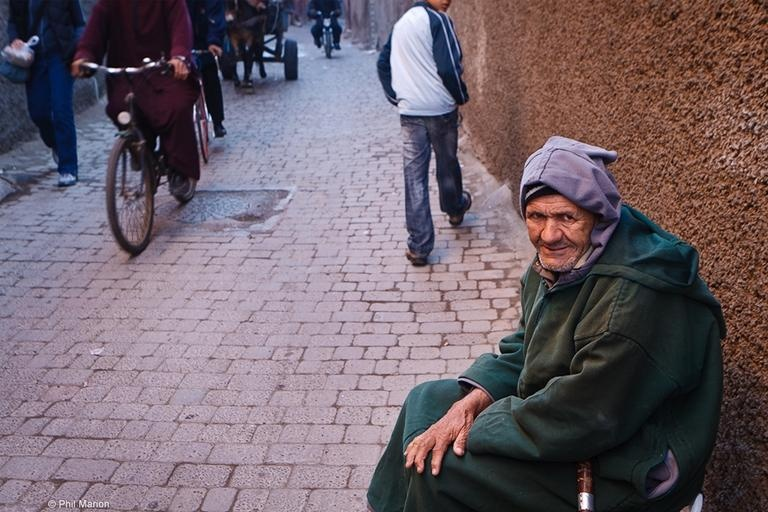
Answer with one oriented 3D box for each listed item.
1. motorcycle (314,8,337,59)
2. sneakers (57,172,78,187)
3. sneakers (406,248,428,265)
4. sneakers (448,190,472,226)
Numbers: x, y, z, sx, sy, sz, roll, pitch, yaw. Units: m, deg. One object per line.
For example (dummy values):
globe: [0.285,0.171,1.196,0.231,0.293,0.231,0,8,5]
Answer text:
motorcycle: [-1.229,-4.734,18.688,0.532,0.994,1.562,-5,2,-3]
sneakers: [-3.286,-0.780,8.879,0.097,0.108,0.231,-1,4,-7]
sneakers: [0.268,0.007,7.172,0.086,0.098,0.208,-7,26,-11]
sneakers: [0.695,-0.473,7.778,0.123,0.176,0.424,-6,45,25]
